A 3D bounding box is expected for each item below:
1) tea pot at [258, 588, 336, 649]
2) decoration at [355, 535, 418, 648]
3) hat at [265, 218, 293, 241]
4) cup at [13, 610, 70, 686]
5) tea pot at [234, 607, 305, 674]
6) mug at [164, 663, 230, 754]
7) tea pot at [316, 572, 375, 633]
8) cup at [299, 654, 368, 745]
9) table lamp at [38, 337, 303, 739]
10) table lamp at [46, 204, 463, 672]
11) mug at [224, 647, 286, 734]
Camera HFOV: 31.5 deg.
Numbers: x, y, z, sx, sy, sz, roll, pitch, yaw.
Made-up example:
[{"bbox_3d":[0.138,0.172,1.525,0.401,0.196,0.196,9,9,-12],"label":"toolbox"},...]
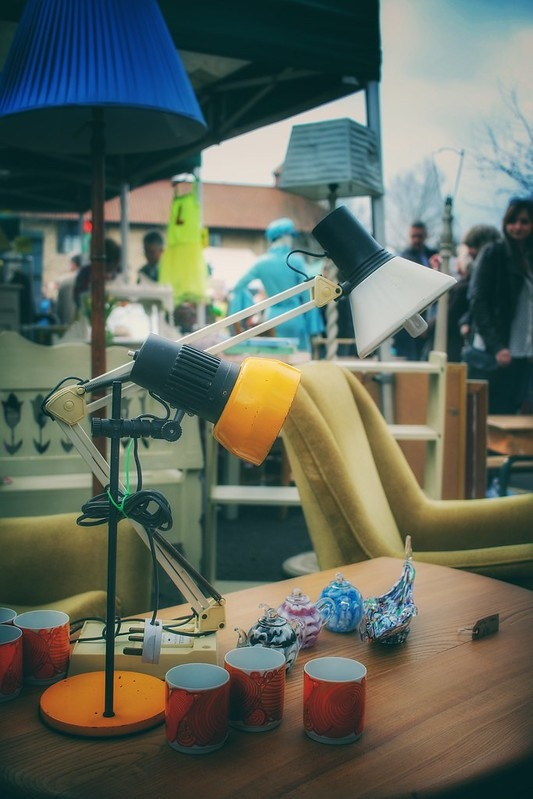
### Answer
[{"bbox_3d":[0.061,0.333,1.461,0.130,0.095,0.081,1,-1,-34],"label":"tea pot"},{"bbox_3d":[0.192,0.295,1.452,0.099,0.139,0.128,9,14,28],"label":"decoration"},{"bbox_3d":[0.059,-0.767,4.261,0.131,0.096,0.108,-22,38,-32],"label":"hat"},{"bbox_3d":[-0.315,0.347,1.332,0.080,0.084,0.090,2,5,16],"label":"cup"},{"bbox_3d":[0.009,0.335,1.335,0.108,0.086,0.074,1,5,-17],"label":"tea pot"},{"bbox_3d":[-0.083,0.385,1.189,0.098,0.078,0.096,-1,2,-1],"label":"mug"},{"bbox_3d":[0.126,0.322,1.524,0.091,0.080,0.086,-3,8,1],"label":"tea pot"},{"bbox_3d":[0.072,0.382,1.210,0.097,0.086,0.094,-1,1,0],"label":"cup"},{"bbox_3d":[-0.146,0.154,1.273,0.308,0.492,0.294,2,12,-12],"label":"table lamp"},{"bbox_3d":[0.149,-0.031,1.601,0.936,0.848,0.336,4,-3,-7],"label":"table lamp"},{"bbox_3d":[-0.017,0.378,1.234,0.095,0.077,0.109,-1,-7,14],"label":"mug"}]
